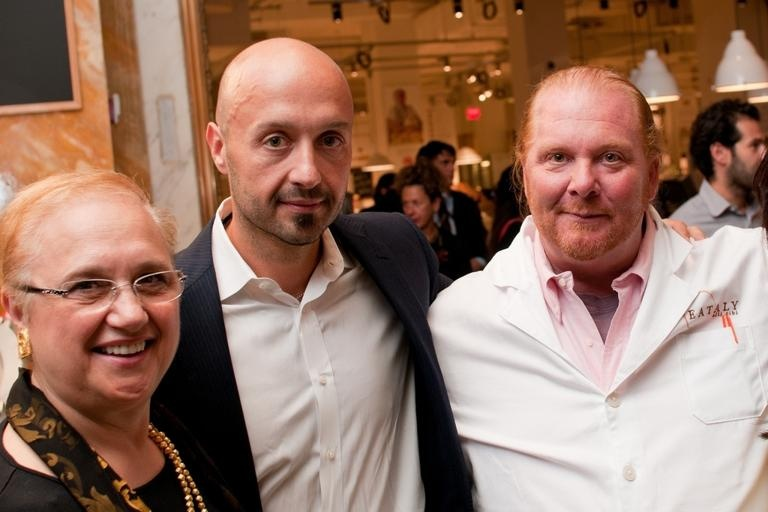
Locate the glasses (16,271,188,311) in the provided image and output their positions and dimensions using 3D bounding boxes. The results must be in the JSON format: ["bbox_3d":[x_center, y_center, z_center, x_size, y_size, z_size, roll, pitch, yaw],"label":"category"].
[{"bbox_3d":[-0.859,0.108,2.116,0.497,0.113,0.153,-9,10,-33],"label":"glasses"}]
